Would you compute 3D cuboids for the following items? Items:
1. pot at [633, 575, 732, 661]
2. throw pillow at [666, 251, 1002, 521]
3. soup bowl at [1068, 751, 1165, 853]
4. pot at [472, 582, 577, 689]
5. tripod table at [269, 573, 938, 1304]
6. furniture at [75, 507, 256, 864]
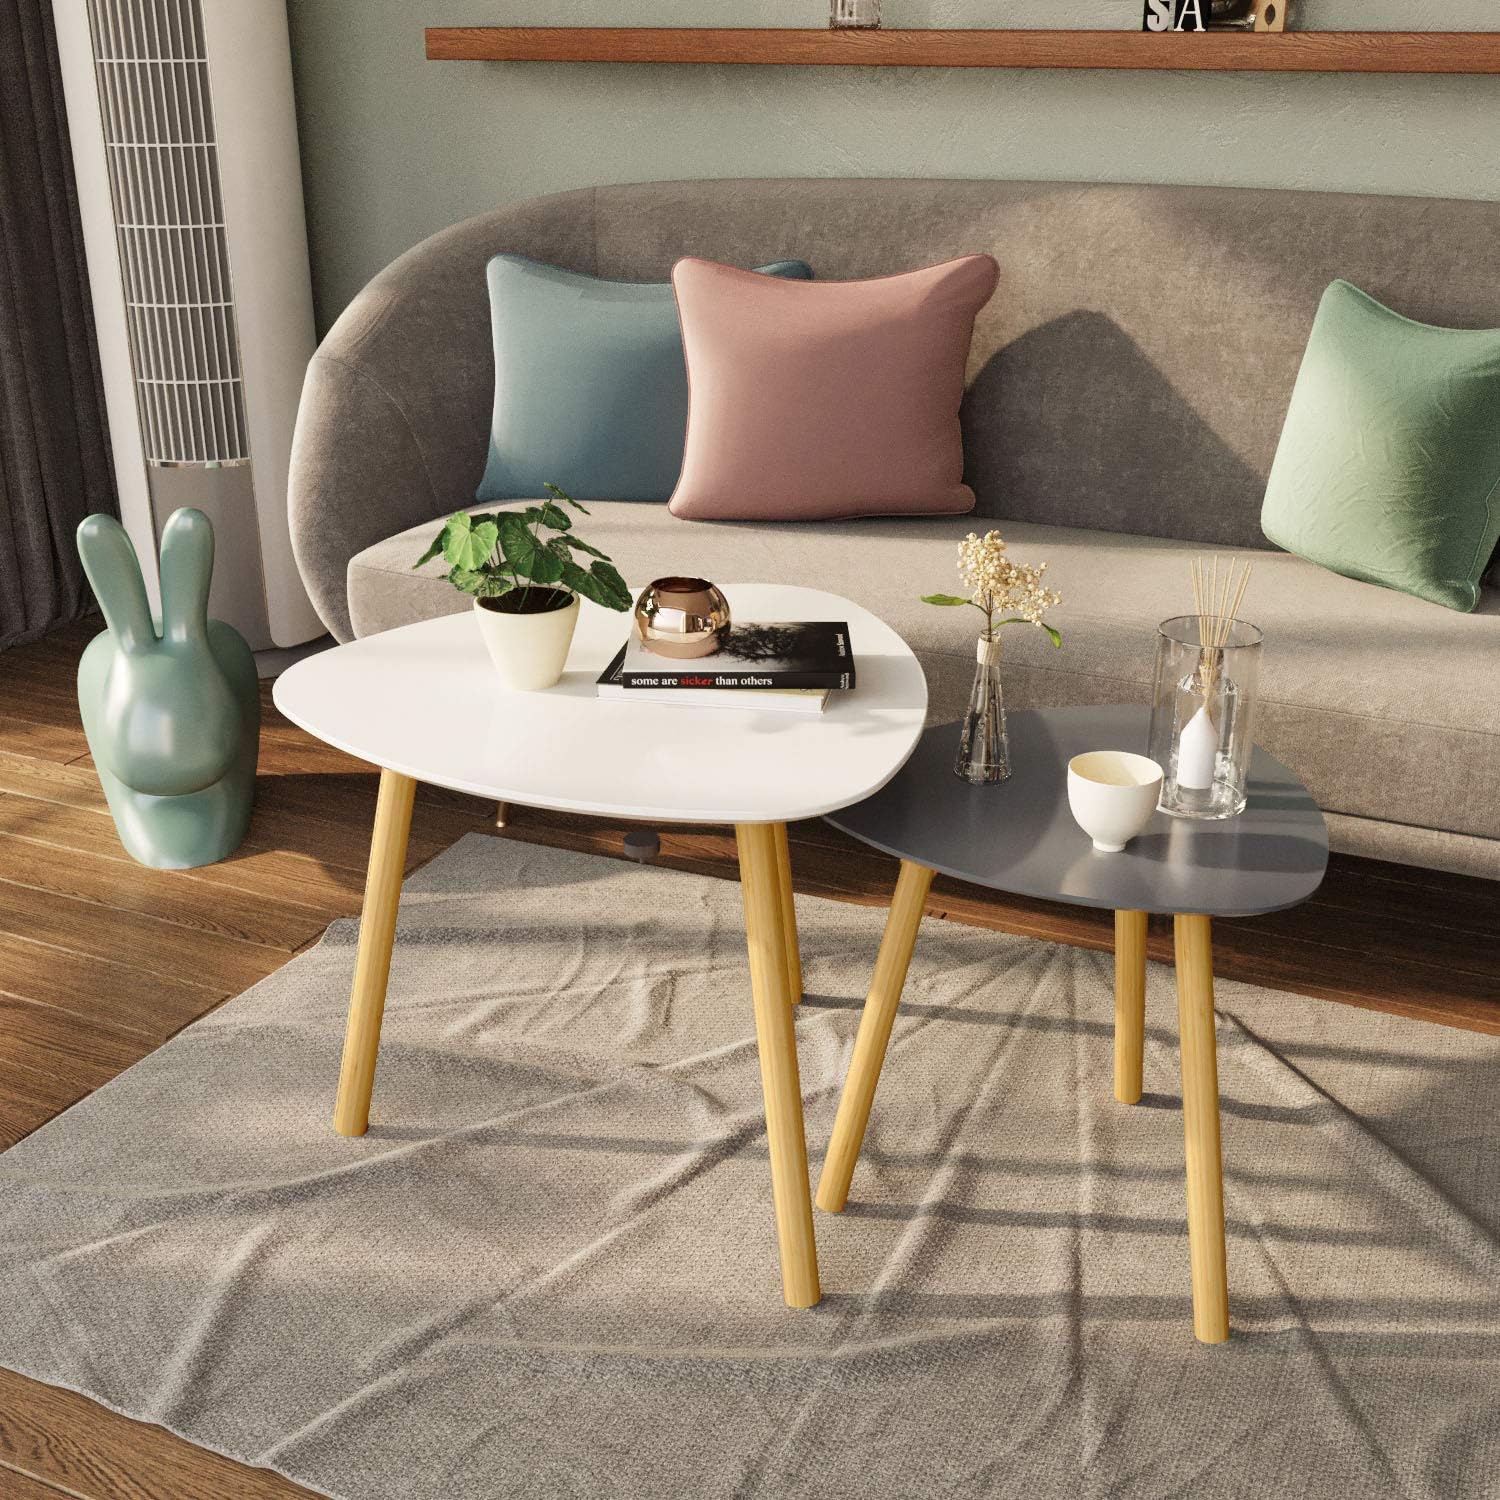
[{"bbox_3d":[-0.074,-0.136,1.539,0.110,0.056,0.096,2,14,5],"label":"pot"},{"bbox_3d":[0.118,-0.553,2.281,0.622,0.396,0.217,-1,-1,3],"label":"throw pillow"},{"bbox_3d":[0.312,0.042,1.333,0.106,0.069,0.095,1,15,1],"label":"soup bowl"},{"bbox_3d":[-0.226,-0.118,1.529,0.132,0.079,0.112,-1,15,-1],"label":"pot"},{"bbox_3d":[-0.114,0.195,1.768,0.845,0.505,0.689,12,32,20],"label":"tripod table"},{"bbox_3d":[-0.825,-0.082,2.075,0.237,0.521,0.193,-7,28,-16],"label":"furniture"}]
